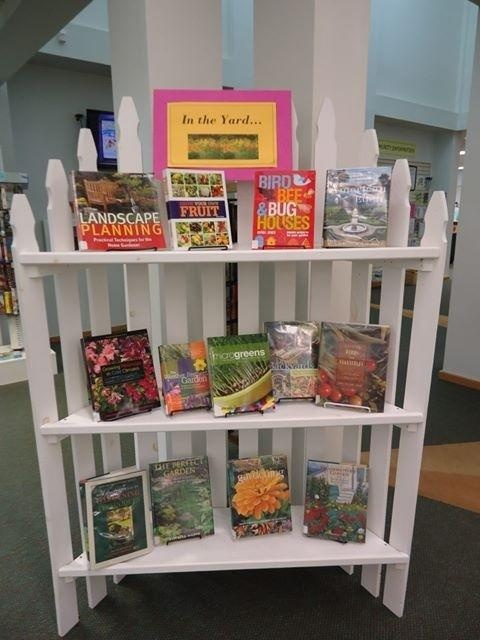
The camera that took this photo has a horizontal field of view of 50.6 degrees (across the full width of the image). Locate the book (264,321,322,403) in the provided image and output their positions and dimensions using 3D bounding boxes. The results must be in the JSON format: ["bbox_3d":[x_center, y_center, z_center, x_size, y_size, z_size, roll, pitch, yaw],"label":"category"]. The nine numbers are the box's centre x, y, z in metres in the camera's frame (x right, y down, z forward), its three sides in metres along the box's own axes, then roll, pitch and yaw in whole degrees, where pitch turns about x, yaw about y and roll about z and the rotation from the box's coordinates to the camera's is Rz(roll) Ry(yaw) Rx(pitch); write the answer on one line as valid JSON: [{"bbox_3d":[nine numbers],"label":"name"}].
[{"bbox_3d":[0.188,0.158,1.838,0.278,0.383,0.029,-1,-1,-4],"label":"book"}]

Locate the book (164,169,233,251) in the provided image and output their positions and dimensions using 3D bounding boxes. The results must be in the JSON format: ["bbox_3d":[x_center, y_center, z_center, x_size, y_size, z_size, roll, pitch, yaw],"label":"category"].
[{"bbox_3d":[-0.134,-0.349,1.617,0.264,0.330,0.039,-2,-5,-23],"label":"book"}]

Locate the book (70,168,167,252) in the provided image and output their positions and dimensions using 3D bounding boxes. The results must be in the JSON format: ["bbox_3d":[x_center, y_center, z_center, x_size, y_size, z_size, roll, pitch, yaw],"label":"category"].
[{"bbox_3d":[-0.384,-0.342,1.609,0.271,0.246,0.116,-4,12,-18],"label":"book"}]

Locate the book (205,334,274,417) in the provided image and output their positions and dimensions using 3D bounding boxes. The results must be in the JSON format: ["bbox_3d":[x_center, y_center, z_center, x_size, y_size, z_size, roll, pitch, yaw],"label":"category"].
[{"bbox_3d":[-0.004,0.200,1.757,0.274,0.350,0.016,-1,-21,-13],"label":"book"}]

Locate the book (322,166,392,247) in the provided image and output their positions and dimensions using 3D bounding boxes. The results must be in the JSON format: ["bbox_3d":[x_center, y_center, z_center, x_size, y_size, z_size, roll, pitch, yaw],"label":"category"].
[{"bbox_3d":[0.379,-0.360,1.639,0.269,0.347,0.029,1,-3,6],"label":"book"}]

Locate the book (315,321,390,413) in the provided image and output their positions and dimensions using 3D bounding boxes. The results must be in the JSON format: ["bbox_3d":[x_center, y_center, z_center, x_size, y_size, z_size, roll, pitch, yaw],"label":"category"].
[{"bbox_3d":[0.397,0.171,1.775,0.278,0.375,0.044,4,-1,9],"label":"book"}]

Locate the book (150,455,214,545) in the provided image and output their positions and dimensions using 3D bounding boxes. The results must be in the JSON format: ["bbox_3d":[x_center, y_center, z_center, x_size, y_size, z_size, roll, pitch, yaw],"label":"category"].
[{"bbox_3d":[-0.221,0.681,1.893,0.282,0.336,0.045,-3,-4,-14],"label":"book"}]

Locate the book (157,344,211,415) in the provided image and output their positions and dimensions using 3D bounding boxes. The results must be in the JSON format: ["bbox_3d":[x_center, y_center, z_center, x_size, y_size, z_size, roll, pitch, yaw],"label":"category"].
[{"bbox_3d":[-0.185,0.192,1.807,0.218,0.224,0.052,-8,2,31],"label":"book"}]

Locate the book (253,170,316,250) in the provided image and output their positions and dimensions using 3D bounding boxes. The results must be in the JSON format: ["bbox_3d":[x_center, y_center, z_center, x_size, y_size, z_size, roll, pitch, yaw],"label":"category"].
[{"bbox_3d":[0.137,-0.350,1.618,0.238,0.306,0.015,2,2,1],"label":"book"}]

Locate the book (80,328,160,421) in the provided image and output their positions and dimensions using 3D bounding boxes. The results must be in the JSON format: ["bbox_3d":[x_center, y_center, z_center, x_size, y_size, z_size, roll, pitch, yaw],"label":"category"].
[{"bbox_3d":[-0.422,0.197,1.745,0.250,0.322,0.035,-11,-2,-33],"label":"book"}]

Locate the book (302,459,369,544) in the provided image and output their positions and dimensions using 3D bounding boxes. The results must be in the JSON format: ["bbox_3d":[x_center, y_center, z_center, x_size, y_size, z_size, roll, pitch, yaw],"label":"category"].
[{"bbox_3d":[0.358,0.683,1.896,0.275,0.339,0.048,2,-3,3],"label":"book"}]
